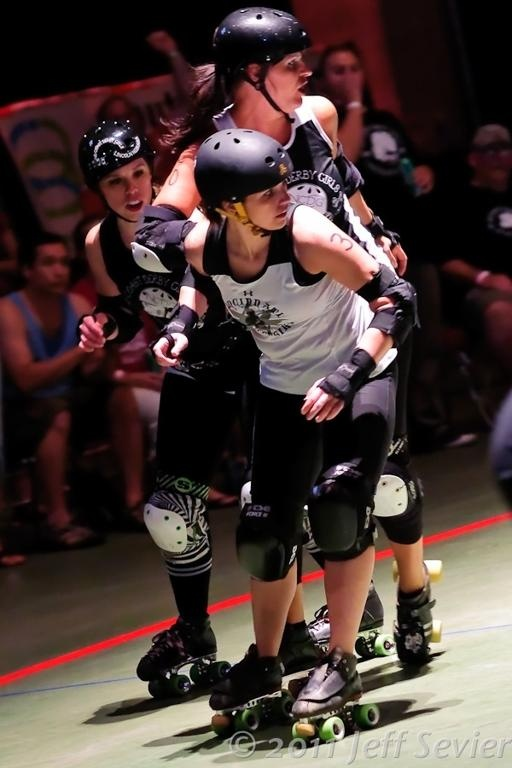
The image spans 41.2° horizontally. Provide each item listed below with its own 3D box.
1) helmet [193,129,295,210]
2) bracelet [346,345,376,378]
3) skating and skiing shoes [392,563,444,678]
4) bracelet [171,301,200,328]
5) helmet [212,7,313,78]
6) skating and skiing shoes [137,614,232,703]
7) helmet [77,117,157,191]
[{"bbox_3d":[-0.013,-0.440,1.423,0.243,0.165,0.182,2,26,2],"label":"helmet"},{"bbox_3d":[0.210,-0.041,1.362,0.053,0.046,0.060,33,2,42],"label":"bracelet"},{"bbox_3d":[0.445,0.656,1.930,0.109,0.141,0.297,-4,27,12],"label":"skating and skiing shoes"},{"bbox_3d":[-0.161,-0.167,1.662,0.057,0.061,0.048,10,68,43],"label":"bracelet"},{"bbox_3d":[-0.010,-0.948,1.915,0.261,0.181,0.191,13,36,27],"label":"helmet"},{"bbox_3d":[-0.235,0.794,2.043,0.259,0.237,0.157,2,-24,-42],"label":"skating and skiing shoes"},{"bbox_3d":[-0.510,-0.821,2.451,0.243,0.250,0.283,-22,41,-26],"label":"helmet"}]
